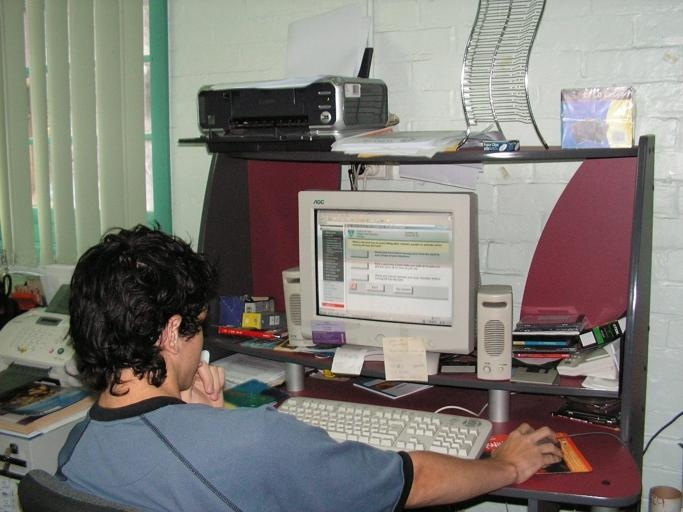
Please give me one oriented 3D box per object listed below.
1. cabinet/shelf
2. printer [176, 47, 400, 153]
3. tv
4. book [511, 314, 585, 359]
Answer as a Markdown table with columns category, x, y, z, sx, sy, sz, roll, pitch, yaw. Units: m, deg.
| category | x | y | z | sx | sy | sz | roll | pitch | yaw |
| --- | --- | --- | --- | --- | --- | --- | --- | --- | --- |
| cabinet/shelf | 0.143 | 0.068 | 1.959 | 1.511 | 0.923 | 0.475 | 4 | 9 | 28 |
| printer | -0.156 | -0.437 | 1.817 | 0.626 | 0.234 | 0.293 | 0 | 8 | 2 |
| tv | 0.168 | 0.057 | 1.880 | 0.536 | 0.524 | 0.308 | 3 | 8 | 24 |
| book | 0.590 | 0.233 | 1.711 | 0.149 | 0.040 | 0.152 | -2 | 24 | 14 |
